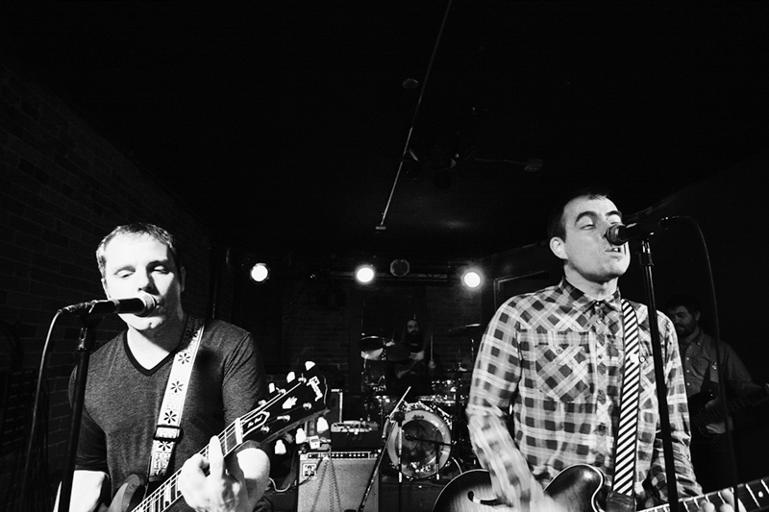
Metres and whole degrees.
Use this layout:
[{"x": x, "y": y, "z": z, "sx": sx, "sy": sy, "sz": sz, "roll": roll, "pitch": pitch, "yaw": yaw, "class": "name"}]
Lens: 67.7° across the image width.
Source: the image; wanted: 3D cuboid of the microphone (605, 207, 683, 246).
[{"x": 1.277, "y": -0.132, "z": 2.885, "sx": 0.111, "sy": 0.109, "sz": 0.419, "roll": 16, "pitch": -15, "yaw": -26, "class": "microphone"}]

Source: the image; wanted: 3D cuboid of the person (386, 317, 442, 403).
[{"x": 0.539, "y": 1.703, "z": 9.491, "sx": 0.690, "sy": 1.234, "sz": 2.547, "roll": -3, "pitch": -13, "yaw": 12, "class": "person"}]

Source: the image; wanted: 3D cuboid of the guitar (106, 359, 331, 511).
[{"x": -0.939, "y": 0.920, "z": 2.989, "sx": 1.551, "sy": 0.503, "sz": 0.189, "roll": -35, "pitch": -79, "yaw": 22, "class": "guitar"}]
